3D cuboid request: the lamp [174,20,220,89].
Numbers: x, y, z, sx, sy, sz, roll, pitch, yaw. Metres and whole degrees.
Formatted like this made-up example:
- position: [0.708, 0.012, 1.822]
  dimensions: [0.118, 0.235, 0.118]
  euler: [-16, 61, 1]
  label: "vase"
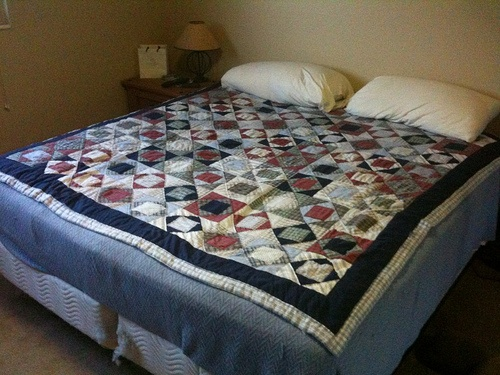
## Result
- position: [-0.414, -1.094, 3.124]
  dimensions: [0.376, 0.373, 0.305]
  euler: [-3, 13, -4]
  label: "lamp"
